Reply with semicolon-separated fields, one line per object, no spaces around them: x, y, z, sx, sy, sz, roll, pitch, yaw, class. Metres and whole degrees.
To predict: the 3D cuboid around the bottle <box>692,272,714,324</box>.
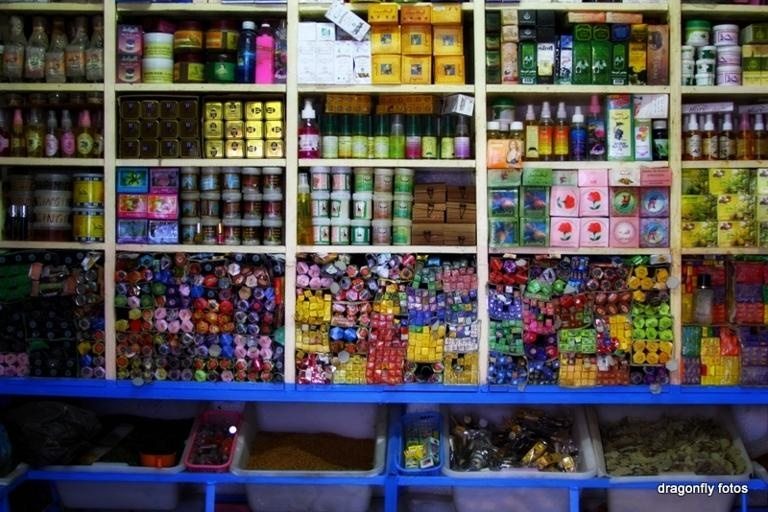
1.965;0.266;5.032;0.115;0.309;0.078;0;11;9;bottle
